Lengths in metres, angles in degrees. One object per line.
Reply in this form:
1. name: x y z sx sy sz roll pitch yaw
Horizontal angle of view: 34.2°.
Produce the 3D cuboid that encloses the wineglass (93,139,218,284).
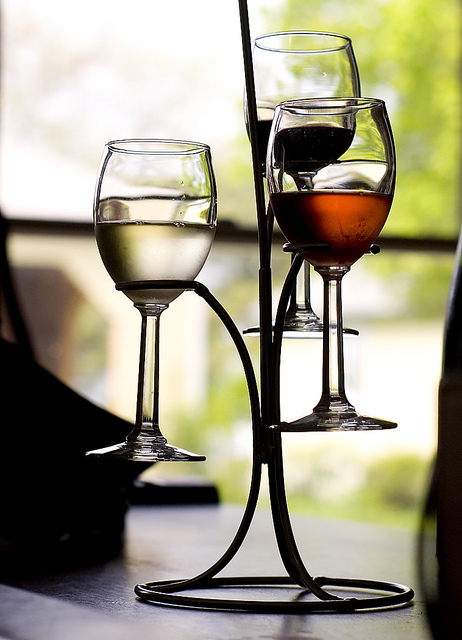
1. wineglass: -0.041 -0.062 0.421 0.064 0.070 0.061 -4 29 -4
